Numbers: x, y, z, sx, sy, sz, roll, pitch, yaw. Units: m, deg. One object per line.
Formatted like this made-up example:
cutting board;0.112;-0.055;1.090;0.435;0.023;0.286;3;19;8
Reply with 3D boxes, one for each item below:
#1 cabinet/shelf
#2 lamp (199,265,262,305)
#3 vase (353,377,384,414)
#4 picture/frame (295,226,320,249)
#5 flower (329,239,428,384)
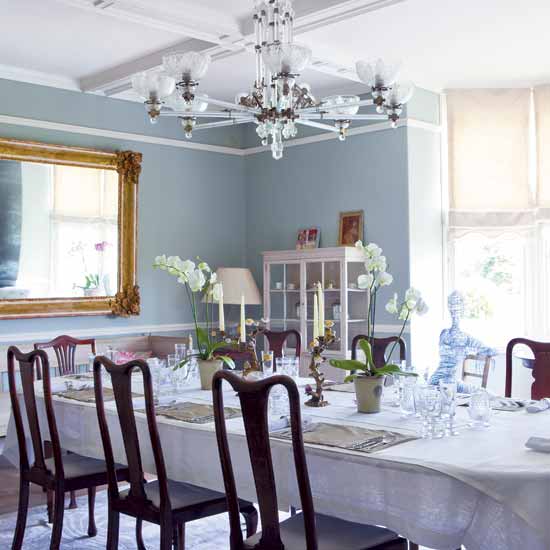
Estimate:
cabinet/shelf;0.380;0.306;4.434;0.390;1.754;1.117;3;-5;-44
lamp;-0.461;0.126;6.104;0.453;0.473;0.484;-2;1;27
vase;0.370;0.465;2.058;0.126;0.149;0.135;1;-2;-16
picture/frame;0.365;-0.443;6.039;0.136;0.255;0.362;-5;4;-39
flower;0.431;0.178;2.150;0.288;0.564;0.281;4;11;11
